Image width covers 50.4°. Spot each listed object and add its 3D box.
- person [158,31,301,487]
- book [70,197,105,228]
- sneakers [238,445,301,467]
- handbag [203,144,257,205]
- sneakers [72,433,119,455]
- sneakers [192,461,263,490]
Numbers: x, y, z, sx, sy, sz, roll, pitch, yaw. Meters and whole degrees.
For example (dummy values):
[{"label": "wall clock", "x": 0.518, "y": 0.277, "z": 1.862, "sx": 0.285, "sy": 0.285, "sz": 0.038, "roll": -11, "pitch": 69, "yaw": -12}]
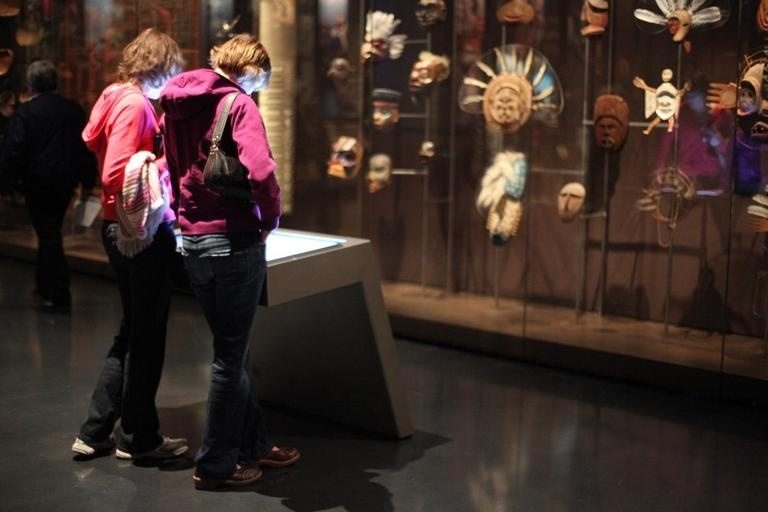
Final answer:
[{"label": "person", "x": -0.815, "y": 0.059, "z": 4.219, "sx": 0.661, "sy": 2.354, "sz": 0.342, "roll": 0, "pitch": 10, "yaw": -6}, {"label": "book", "x": -2.692, "y": -0.410, "z": 7.405, "sx": 0.139, "sy": 0.260, "sz": 0.143, "roll": 25, "pitch": 21, "yaw": -2}, {"label": "sneakers", "x": -0.628, "y": 1.087, "z": 4.508, "sx": 0.304, "sy": 0.107, "sz": 0.118, "roll": -5, "pitch": 13, "yaw": -20}, {"label": "handbag", "x": -0.781, "y": -0.439, "z": 4.098, "sx": 0.115, "sy": 0.260, "sz": 0.265, "roll": -8, "pitch": -13, "yaw": 29}, {"label": "sneakers", "x": -1.636, "y": 1.069, "z": 4.621, "sx": 0.099, "sy": 0.109, "sz": 0.234, "roll": 12, "pitch": 18, "yaw": 34}, {"label": "sneakers", "x": -0.831, "y": 1.137, "z": 4.348, "sx": 0.290, "sy": 0.124, "sz": 0.149, "roll": -4, "pitch": 5, "yaw": -20}]
